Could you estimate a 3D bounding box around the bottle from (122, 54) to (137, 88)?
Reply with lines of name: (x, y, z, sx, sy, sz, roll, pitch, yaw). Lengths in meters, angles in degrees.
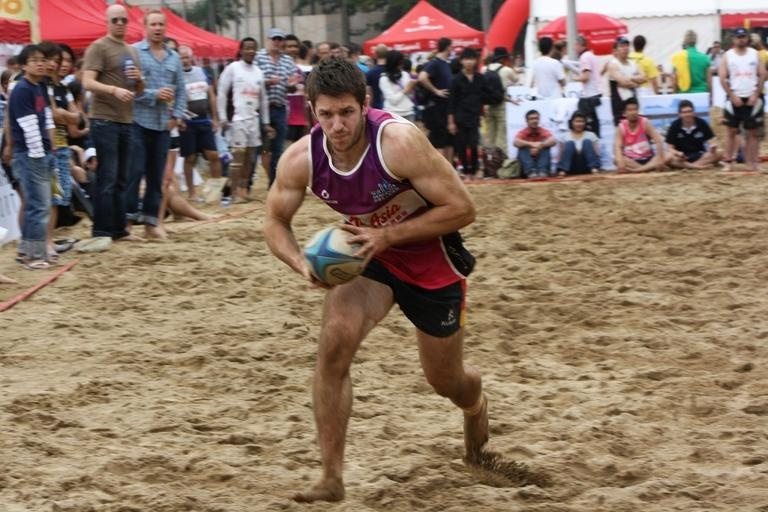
bottle: (-2.824, -2.045, 11.361, 0.135, 0.318, 0.228, 0, 8, -11)

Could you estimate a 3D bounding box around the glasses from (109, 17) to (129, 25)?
glasses: (-2.903, -2.576, 11.268, 0.109, 0.096, 0.220, 5, 8, 31)

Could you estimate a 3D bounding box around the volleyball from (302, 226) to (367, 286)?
volleyball: (-0.348, -0.002, 7.447, 0.568, 0.380, 0.449, 7, 1, 12)
